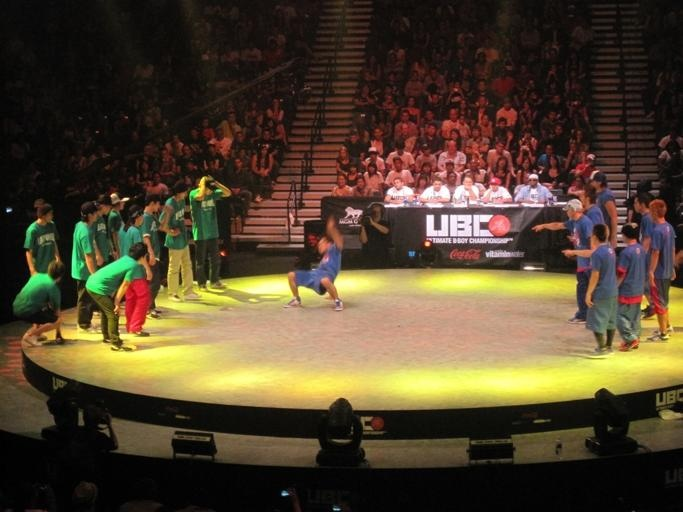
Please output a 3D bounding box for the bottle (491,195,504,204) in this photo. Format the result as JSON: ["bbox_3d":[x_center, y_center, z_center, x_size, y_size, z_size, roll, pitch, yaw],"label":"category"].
[{"bbox_3d":[3.459,-1.236,16.329,0.289,0.161,0.418,1,4,11],"label":"bottle"}]

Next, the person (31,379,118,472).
[{"bbox_3d":[-2.924,1.883,8.239,1.037,1.048,0.618,4,15,18],"label":"person"}]

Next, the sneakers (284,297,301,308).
[{"bbox_3d":[-0.802,0.740,12.581,0.248,0.154,0.272,1,4,6],"label":"sneakers"}]
